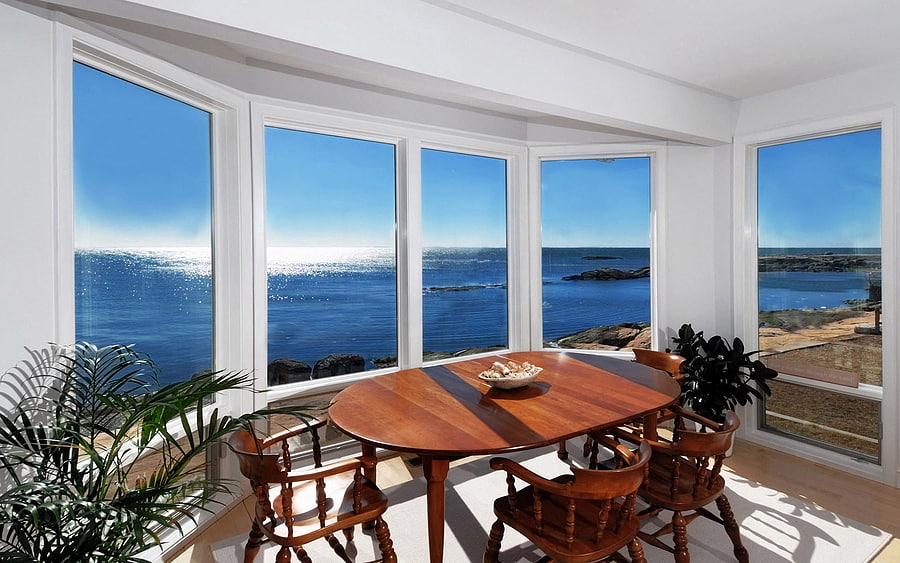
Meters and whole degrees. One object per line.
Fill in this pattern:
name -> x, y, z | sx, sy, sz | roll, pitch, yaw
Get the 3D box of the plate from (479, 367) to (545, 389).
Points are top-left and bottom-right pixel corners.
plate -> 0.430, 0.708, 3.686 | 0.243, 0.050, 0.245 | -1, 0, 39
